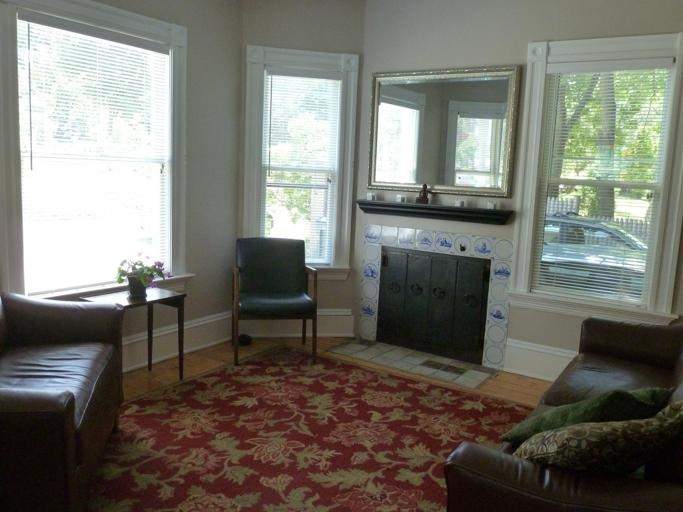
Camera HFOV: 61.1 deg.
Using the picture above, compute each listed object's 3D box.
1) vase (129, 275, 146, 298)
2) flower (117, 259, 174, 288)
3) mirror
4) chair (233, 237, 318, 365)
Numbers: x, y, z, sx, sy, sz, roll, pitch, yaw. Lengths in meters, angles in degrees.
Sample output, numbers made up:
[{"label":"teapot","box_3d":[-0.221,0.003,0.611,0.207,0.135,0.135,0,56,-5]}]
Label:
[{"label":"vase","box_3d":[-1.446,0.217,4.110,0.124,0.163,0.071,-1,12,-10]},{"label":"flower","box_3d":[-1.410,0.105,4.201,0.259,0.119,0.259,6,9,26]},{"label":"mirror","box_3d":[0.918,-1.070,4.897,1.174,0.947,0.085,6,10,29]},{"label":"chair","box_3d":[-0.575,0.383,4.958,0.749,1.003,0.643,0,8,-19]}]
